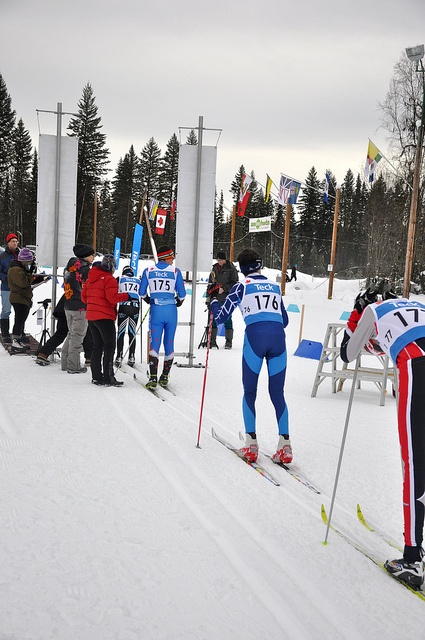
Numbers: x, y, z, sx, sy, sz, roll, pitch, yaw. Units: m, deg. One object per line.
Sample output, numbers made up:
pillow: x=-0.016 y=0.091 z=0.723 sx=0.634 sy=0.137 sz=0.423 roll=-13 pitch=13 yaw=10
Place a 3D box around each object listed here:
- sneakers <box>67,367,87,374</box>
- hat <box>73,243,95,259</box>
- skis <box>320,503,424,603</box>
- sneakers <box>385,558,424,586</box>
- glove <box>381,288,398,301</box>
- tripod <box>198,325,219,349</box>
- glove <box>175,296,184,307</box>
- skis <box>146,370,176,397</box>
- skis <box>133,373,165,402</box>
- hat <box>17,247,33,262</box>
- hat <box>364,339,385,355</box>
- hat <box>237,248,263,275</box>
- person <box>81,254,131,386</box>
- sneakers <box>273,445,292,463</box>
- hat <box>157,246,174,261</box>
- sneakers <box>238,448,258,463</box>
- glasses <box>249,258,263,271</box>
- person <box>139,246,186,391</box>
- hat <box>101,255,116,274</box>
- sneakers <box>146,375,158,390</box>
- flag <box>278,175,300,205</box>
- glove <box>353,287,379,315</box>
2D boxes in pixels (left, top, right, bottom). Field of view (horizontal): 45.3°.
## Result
sneakers: x=-2.276 y=0.839 z=8.621 sx=0.276 sy=0.145 sz=0.111 roll=-2 pitch=5 yaw=-8
hat: x=-2.069 y=-1.137 z=8.334 sx=0.216 sy=0.233 sz=0.276 roll=3 pitch=12 yaw=40
skis: x=0.890 y=1.387 z=3.135 sx=0.144 sy=0.160 sz=1.056 roll=-5 pitch=9 yaw=-15
sneakers: x=1.045 y=1.367 z=2.811 sx=0.075 sy=0.112 sz=0.231 roll=10 pitch=5 yaw=-29
glove: x=1.202 y=-0.172 z=3.487 sx=0.058 sy=0.080 sz=0.181 roll=5 pitch=10 yaw=8
tripod: x=-0.015 y=0.568 z=13.821 sx=0.405 sy=0.824 sz=0.758 roll=5 pitch=4 yaw=-3
glove: x=-0.552 y=-0.313 z=8.427 sx=0.125 sy=0.171 sz=0.234 roll=1 pitch=-7 yaw=-9
skis: x=-0.784 y=1.020 z=7.770 sx=0.180 sy=0.256 sz=0.601 roll=4 pitch=1 yaw=-32
skis: x=-0.947 y=1.037 z=7.704 sx=0.101 sy=0.056 sz=0.947 roll=-23 pitch=17 yaw=-17
hat: x=-3.550 y=-1.233 z=9.798 sx=0.270 sy=0.241 sz=0.281 roll=-4 pitch=18 yaw=-33
hat: x=1.059 y=0.175 z=3.345 sx=0.083 sy=0.092 sz=0.067 roll=-28 pitch=-42 yaw=24
hat: x=0.384 y=-0.598 z=5.242 sx=0.197 sy=0.269 sz=0.265 roll=-2 pitch=4 yaw=5
person: x=-1.583 y=0.022 z=7.608 sx=0.442 sy=1.931 sz=0.624 roll=-2 pitch=8 yaw=-41
sneakers: x=0.660 y=1.280 z=4.834 sx=0.088 sy=0.125 sz=0.260 roll=5 pitch=-4 yaw=-12
hat: x=-0.765 y=-1.123 z=8.401 sx=0.250 sy=0.206 sz=0.197 roll=-31 pitch=28 yaw=-35
sneakers: x=0.334 y=1.263 z=4.808 sx=0.080 sy=0.112 sz=0.228 roll=2 pitch=7 yaw=-20
glasses: x=0.430 y=-0.566 z=5.252 sx=0.113 sy=0.099 sz=0.114 roll=0 pitch=5 yaw=-26
person: x=-0.829 y=-0.042 z=8.241 sx=0.724 sy=2.291 sz=1.044 roll=3 pitch=6 yaw=-5
hat: x=-1.554 y=-0.842 z=7.810 sx=0.207 sy=0.329 sz=0.305 roll=1 pitch=11 yaw=-3
sneakers: x=-0.929 y=0.989 z=7.873 sx=0.095 sy=0.119 sz=0.246 roll=3 pitch=-25 yaw=-11
flag: x=3.902 y=-6.676 z=26.156 sx=0.943 sy=1.321 sz=1.417 roll=4 pitch=6 yaw=-1
glove: x=1.004 y=-0.131 z=3.321 sx=0.138 sy=0.049 sz=0.179 roll=12 pitch=53 yaw=42
